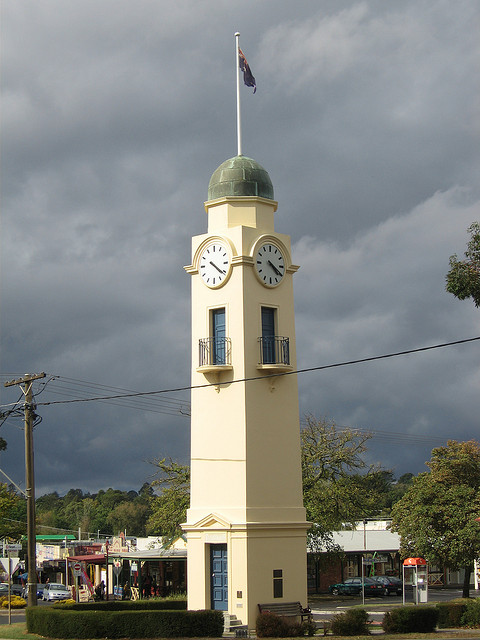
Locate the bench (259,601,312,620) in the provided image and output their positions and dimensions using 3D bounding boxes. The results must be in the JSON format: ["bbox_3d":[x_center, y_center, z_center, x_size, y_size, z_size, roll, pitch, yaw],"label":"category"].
[{"bbox_3d":[2.018,12.507,57.643,2.752,0.773,0.513,7,-15,-42],"label":"bench"}]

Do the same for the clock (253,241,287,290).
[{"bbox_3d":[1.426,-2.483,60.751,0.155,2.165,2.053,-12,15,-44],"label":"clock"}]

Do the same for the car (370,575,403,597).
[{"bbox_3d":[9.888,18.172,91.751,1.043,0.796,2.258,3,-3,-31],"label":"car"}]

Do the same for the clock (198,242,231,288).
[{"bbox_3d":[-1.060,-2.437,60.537,1.839,2.371,0.231,-5,-10,40],"label":"clock"}]

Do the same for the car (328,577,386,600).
[{"bbox_3d":[7.962,18.324,91.738,1.725,1.367,4.252,4,-14,-31],"label":"car"}]

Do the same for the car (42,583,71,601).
[{"bbox_3d":[-12.229,18.092,89.290,1.250,0.986,2.851,2,-17,-14],"label":"car"}]

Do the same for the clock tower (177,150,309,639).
[{"bbox_3d":[0.168,2.718,59.580,4.873,21.506,2.723,-2,-10,-3],"label":"clock tower"}]

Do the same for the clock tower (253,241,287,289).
[{"bbox_3d":[1.287,-2.445,60.576,0.133,1.786,1.723,-12,-24,39],"label":"clock tower"}]
